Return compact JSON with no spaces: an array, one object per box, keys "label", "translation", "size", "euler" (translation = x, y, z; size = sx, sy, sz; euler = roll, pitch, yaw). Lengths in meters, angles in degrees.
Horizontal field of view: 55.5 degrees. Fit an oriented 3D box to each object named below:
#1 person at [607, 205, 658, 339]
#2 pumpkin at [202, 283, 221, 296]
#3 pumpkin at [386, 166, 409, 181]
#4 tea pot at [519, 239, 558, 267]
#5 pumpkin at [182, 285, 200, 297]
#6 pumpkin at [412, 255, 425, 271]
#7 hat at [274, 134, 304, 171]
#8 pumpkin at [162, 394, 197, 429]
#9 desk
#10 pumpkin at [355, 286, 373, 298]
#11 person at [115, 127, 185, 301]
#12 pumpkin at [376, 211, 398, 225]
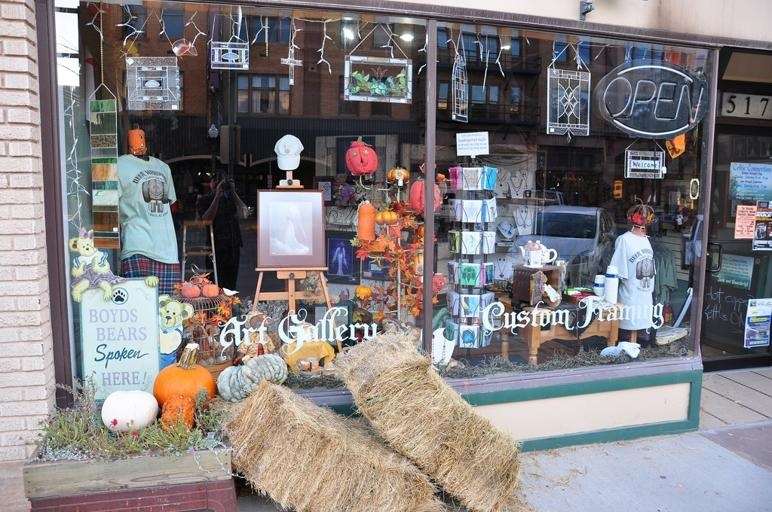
[{"label":"person","translation":[2.451,0.139,7.399],"size":[0.405,1.293,0.494],"euler":[0,2,-11]},{"label":"pumpkin","translation":[-1.609,0.320,6.724],"size":[0.110,0.116,0.117],"euler":[1,9,-2]},{"label":"pumpkin","translation":[0.116,-0.776,7.014],"size":[0.141,0.151,0.150],"euler":[1,9,2]},{"label":"tea pot","translation":[1.484,-0.009,7.171],"size":[0.333,0.252,0.215],"euler":[1,1,-10]},{"label":"pumpkin","translation":[-1.777,0.324,6.689],"size":[0.111,0.112,0.117],"euler":[3,6,24]},{"label":"pumpkin","translation":[0.296,0.063,6.900],"size":[0.096,0.134,0.069],"euler":[0,-4,28]},{"label":"hat","translation":[-0.951,-1.004,7.162],"size":[0.256,0.359,0.102],"euler":[-1,0,2]},{"label":"pumpkin","translation":[-1.638,1.262,5.866],"size":[0.201,0.254,0.269],"euler":[10,-24,23]},{"label":"desk","translation":[1.686,0.657,7.109],"size":[0.997,0.583,0.606],"euler":[-1,2,-17]},{"label":"pumpkin","translation":[-0.219,0.351,6.969],"size":[0.114,0.121,0.121],"euler":[4,-8,4]},{"label":"person","translation":[-2.251,-0.470,6.936],"size":[0.510,1.455,0.353],"euler":[-3,10,-12]},{"label":"pumpkin","translation":[0.017,-0.366,7.036],"size":[0.143,0.097,0.143],"euler":[1,3,21]}]
